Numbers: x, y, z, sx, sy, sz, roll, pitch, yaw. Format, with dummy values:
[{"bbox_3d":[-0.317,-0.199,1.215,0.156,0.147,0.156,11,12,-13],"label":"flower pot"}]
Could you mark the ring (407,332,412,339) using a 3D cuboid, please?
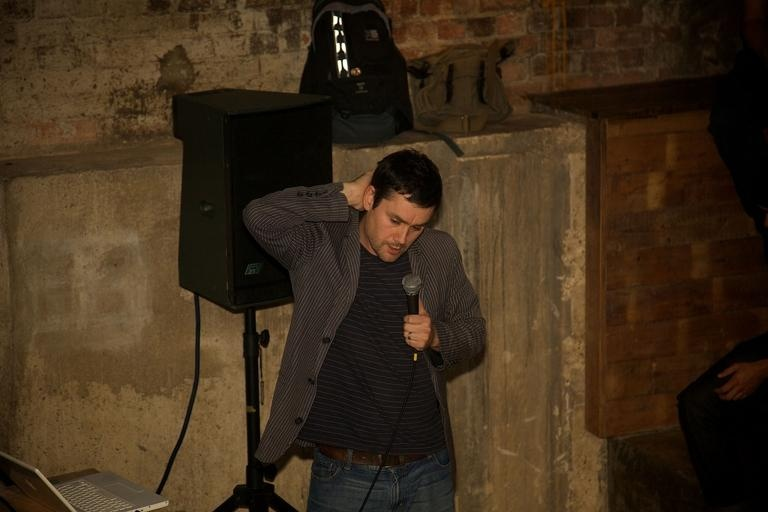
[{"bbox_3d":[0.124,0.382,4.535,0.024,0.027,0.026,0,6,0],"label":"ring"}]
